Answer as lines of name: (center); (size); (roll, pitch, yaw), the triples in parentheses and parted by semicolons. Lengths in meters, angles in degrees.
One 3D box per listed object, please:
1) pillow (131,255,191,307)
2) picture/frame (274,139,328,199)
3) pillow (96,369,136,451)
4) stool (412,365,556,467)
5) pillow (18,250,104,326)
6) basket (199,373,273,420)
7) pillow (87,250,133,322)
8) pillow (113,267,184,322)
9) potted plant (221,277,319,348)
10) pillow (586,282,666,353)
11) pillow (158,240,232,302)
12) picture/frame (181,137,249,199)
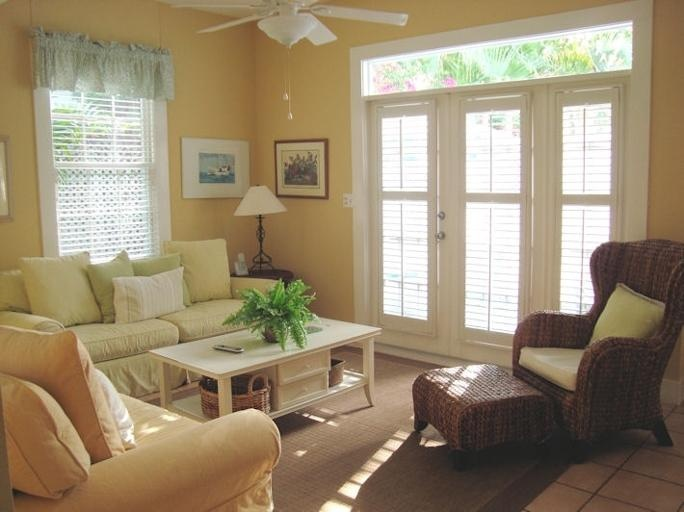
pillow: (-1.461, 0.219, 4.493); (0.150, 0.372, 0.402); (-24, -13, 40)
picture/frame: (-0.559, -0.872, 5.762); (0.249, 0.651, 0.751); (-14, 7, 16)
pillow: (-1.011, 0.685, 2.519); (0.108, 0.339, 0.364); (-21, -14, -5)
stool: (0.870, 0.950, 3.433); (0.718, 0.430, 0.637); (-4, 11, -16)
pillow: (-2.054, 0.258, 4.071); (0.253, 0.442, 0.477); (1, 14, 29)
basket: (-0.641, 0.849, 3.430); (0.331, 0.205, 0.328); (0, 2, -39)
pillow: (-1.779, 0.253, 4.273); (0.190, 0.395, 0.492); (4, 14, 17)
pillow: (-1.513, 0.325, 4.444); (0.201, 0.360, 0.641); (2, 7, 30)
potted plant: (-0.464, 0.375, 3.633); (0.493, 0.334, 0.485); (2, -2, -9)
pillow: (1.784, 0.392, 3.485); (0.128, 0.386, 0.422); (31, -4, -28)
pillow: (-1.241, 0.133, 4.980); (0.308, 0.521, 0.608); (18, 16, 30)
picture/frame: (-1.277, -0.863, 5.456); (0.016, 0.480, 0.695); (4, 4, 34)
